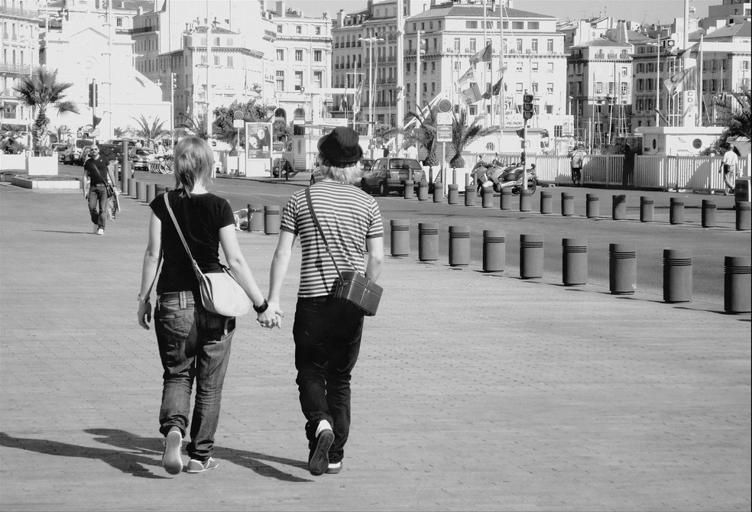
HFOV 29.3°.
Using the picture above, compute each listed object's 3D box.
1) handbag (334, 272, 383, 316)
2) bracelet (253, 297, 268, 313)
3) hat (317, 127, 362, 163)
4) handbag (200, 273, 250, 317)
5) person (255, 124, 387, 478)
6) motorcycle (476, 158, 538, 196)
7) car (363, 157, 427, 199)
[{"bbox_3d":[-0.156,0.323,12.117,0.406,0.373,0.217,-1,7,-13],"label":"handbag"},{"bbox_3d":[-0.991,0.429,12.356,0.132,0.094,0.140,-4,-6,-15],"label":"bracelet"},{"bbox_3d":[-0.301,-0.920,12.227,0.378,0.333,0.236,0,7,-2],"label":"hat"},{"bbox_3d":[-1.298,0.340,12.119,0.149,0.323,0.327,-28,-21,31],"label":"handbag"},{"bbox_3d":[-0.199,0.354,12.360,1.033,2.596,1.360,1,1,44],"label":"person"},{"bbox_3d":[4.891,-2.894,54.007,3.249,1.553,1.254,-6,17,-8],"label":"motorcycle"},{"bbox_3d":[0.540,-2.971,55.117,1.372,0.956,2.174,-3,11,-19],"label":"car"}]
